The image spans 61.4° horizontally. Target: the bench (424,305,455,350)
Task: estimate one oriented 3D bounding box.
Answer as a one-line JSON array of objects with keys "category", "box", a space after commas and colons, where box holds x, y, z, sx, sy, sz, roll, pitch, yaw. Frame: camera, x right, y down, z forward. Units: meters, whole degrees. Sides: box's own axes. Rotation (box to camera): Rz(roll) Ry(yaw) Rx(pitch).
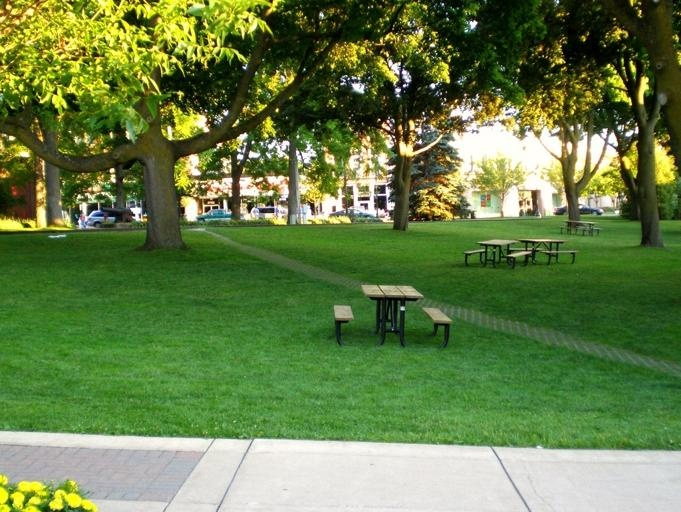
[{"category": "bench", "box": [1.823, 1.279, 10.754, 0.485, 0.577, 1.850, 0, 3, 11]}]
